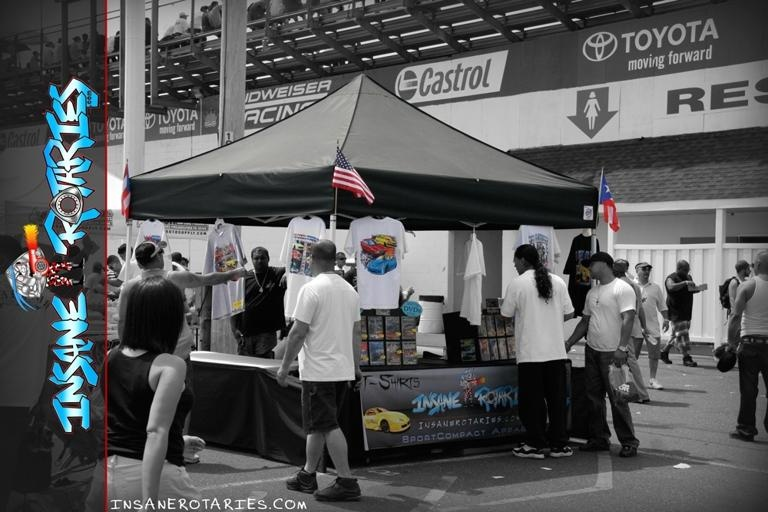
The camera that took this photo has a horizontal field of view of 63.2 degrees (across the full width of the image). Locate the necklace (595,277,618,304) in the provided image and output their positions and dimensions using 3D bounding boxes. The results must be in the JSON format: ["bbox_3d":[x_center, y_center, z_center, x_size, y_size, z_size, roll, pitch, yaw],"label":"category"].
[{"bbox_3d":[2.741,0.418,7.571,0.433,0.330,0.195,1,0,20],"label":"necklace"}]

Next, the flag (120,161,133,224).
[{"bbox_3d":[-3.212,-0.811,7.769,0.101,0.715,0.621,1,0,-23],"label":"flag"}]

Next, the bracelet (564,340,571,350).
[{"bbox_3d":[2.250,1.085,7.637,0.079,0.046,0.118,2,7,-2],"label":"bracelet"}]

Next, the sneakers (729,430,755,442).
[{"bbox_3d":[4.723,2.354,8.251,0.127,0.133,0.291,0,8,-40],"label":"sneakers"}]

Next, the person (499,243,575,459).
[{"bbox_3d":[1.810,1.109,7.358,0.861,2.482,0.332,1,-1,-18],"label":"person"}]

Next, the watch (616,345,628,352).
[{"bbox_3d":[2.848,1.091,7.435,0.100,0.072,0.103,4,-4,23],"label":"watch"}]

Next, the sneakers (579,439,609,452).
[{"bbox_3d":[2.599,2.317,7.727,0.357,0.170,0.150,3,-1,-2],"label":"sneakers"}]

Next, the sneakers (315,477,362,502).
[{"bbox_3d":[-0.439,2.192,5.844,0.372,0.191,0.216,1,-7,-2],"label":"sneakers"}]

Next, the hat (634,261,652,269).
[{"bbox_3d":[5.463,0.173,13.134,0.222,0.104,0.303,1,-3,-5],"label":"hat"}]

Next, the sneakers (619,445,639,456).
[{"bbox_3d":[2.903,2.306,7.431,0.105,0.128,0.261,-6,-21,37],"label":"sneakers"}]

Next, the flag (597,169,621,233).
[{"bbox_3d":[3.068,-0.778,8.578,0.191,0.950,0.132,1,36,34],"label":"flag"}]

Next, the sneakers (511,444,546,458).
[{"bbox_3d":[1.690,2.280,7.287,0.361,0.178,0.147,5,2,36],"label":"sneakers"}]

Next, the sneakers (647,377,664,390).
[{"bbox_3d":[5.008,2.321,11.461,0.241,0.175,0.256,1,0,31],"label":"sneakers"}]

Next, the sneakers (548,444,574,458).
[{"bbox_3d":[2.106,2.282,7.428,0.298,0.148,0.122,-4,4,-31],"label":"sneakers"}]

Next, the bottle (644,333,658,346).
[{"bbox_3d":[4.745,1.467,11.136,0.271,0.207,0.159,1,0,-35],"label":"bottle"}]

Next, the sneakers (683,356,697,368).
[{"bbox_3d":[6.747,2.320,13.885,0.145,0.205,0.452,-1,-4,-17],"label":"sneakers"}]

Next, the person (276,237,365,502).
[{"bbox_3d":[-0.595,1.057,6.001,0.763,1.992,0.408,1,-1,-11],"label":"person"}]
